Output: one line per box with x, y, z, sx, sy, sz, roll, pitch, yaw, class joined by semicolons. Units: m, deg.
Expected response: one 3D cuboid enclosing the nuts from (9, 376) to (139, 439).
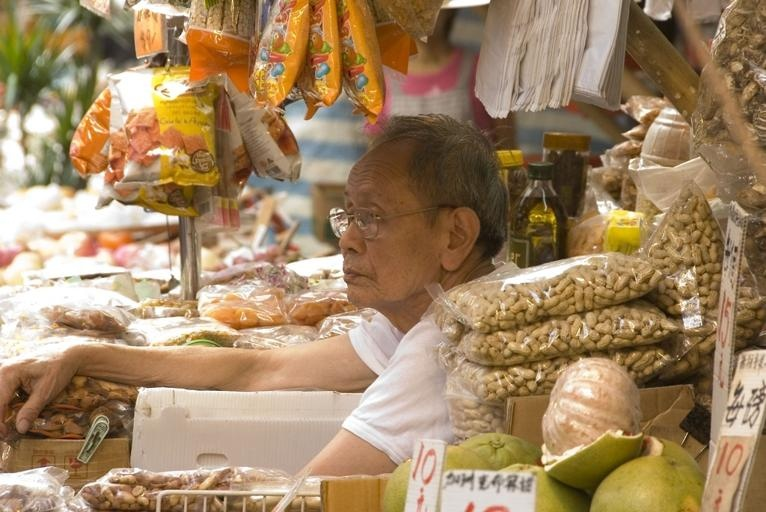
-1.034;0.478;3.041;0.357;0.176;0.354;-7;7;-43;nuts

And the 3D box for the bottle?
0.540;-0.143;3.264;0.184;0.520;0.240;-4;3;6;bottle
